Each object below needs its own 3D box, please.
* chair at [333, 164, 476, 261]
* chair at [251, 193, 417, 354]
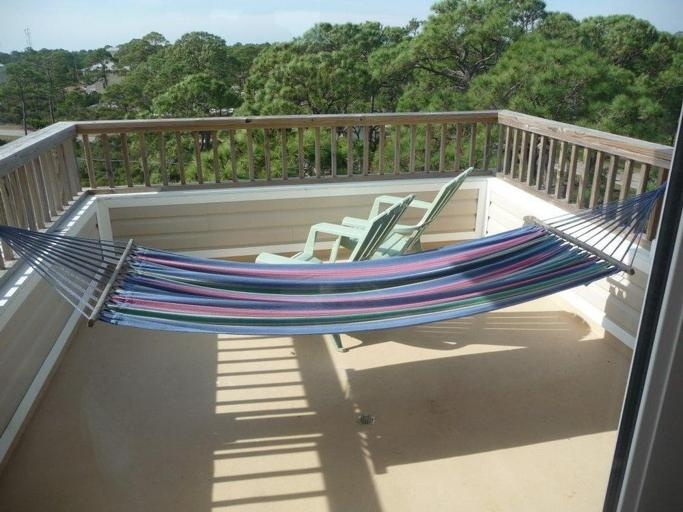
[{"bbox_3d":[0.370,-0.227,3.785,0.679,0.635,0.889,0,7,-45],"label":"chair"},{"bbox_3d":[0.095,-0.098,3.472,1.155,1.096,0.939,6,33,8],"label":"chair"}]
